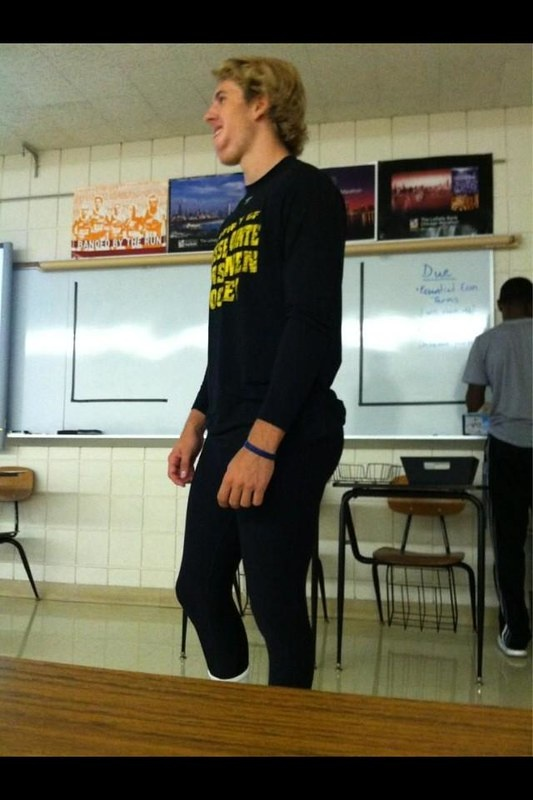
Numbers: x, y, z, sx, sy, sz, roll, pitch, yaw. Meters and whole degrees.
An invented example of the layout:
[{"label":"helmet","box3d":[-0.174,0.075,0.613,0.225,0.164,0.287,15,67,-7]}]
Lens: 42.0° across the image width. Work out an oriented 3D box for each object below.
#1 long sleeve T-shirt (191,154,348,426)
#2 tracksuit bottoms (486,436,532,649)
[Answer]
[{"label":"long sleeve T-shirt","box3d":[-0.014,-0.133,0.865,0.220,0.361,0.209,2,3,19]},{"label":"tracksuit bottoms","box3d":[0.777,0.461,2.219,0.140,0.668,0.181,2,3,18]}]
